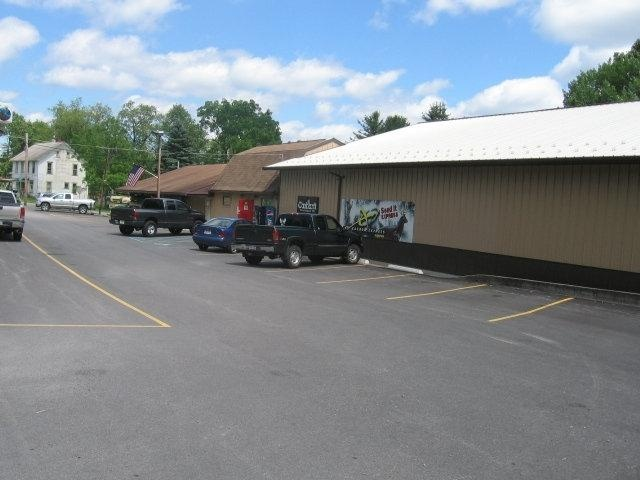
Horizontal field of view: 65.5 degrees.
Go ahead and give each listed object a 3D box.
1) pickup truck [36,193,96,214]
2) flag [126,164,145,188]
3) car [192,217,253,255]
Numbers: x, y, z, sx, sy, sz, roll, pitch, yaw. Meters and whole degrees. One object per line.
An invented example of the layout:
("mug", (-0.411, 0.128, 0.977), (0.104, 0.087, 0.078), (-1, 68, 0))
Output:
("pickup truck", (-32.528, -4.819, 63.202), (9.517, 2.311, 4.506), (5, 4, 26))
("flag", (-17.959, -6.286, 48.310), (1.128, 2.138, 4.259), (1, 4, -22))
("car", (-4.860, -0.285, 25.921), (1.424, 1.214, 3.253), (3, 8, 30))
